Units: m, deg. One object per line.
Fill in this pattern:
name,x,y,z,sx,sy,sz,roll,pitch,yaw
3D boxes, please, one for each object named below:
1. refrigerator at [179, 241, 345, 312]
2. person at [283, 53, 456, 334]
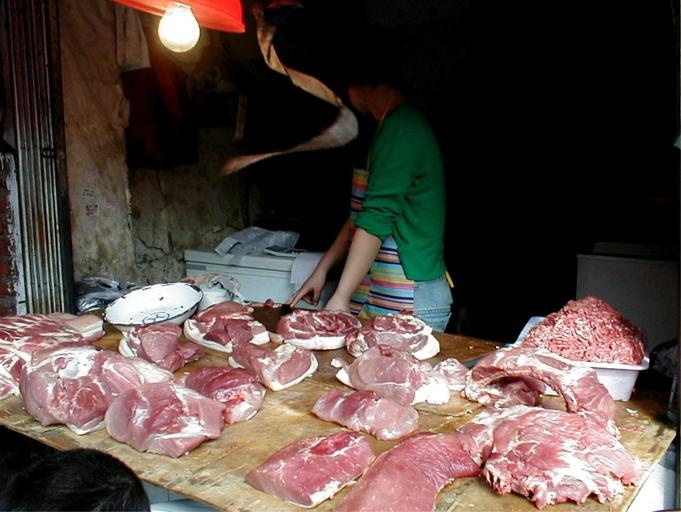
refrigerator,-0.655,-0.006,4.334,1.175,0.586,0.568,2,6,18
person,0.242,-0.305,2.844,0.880,1.480,0.480,-1,13,-35
